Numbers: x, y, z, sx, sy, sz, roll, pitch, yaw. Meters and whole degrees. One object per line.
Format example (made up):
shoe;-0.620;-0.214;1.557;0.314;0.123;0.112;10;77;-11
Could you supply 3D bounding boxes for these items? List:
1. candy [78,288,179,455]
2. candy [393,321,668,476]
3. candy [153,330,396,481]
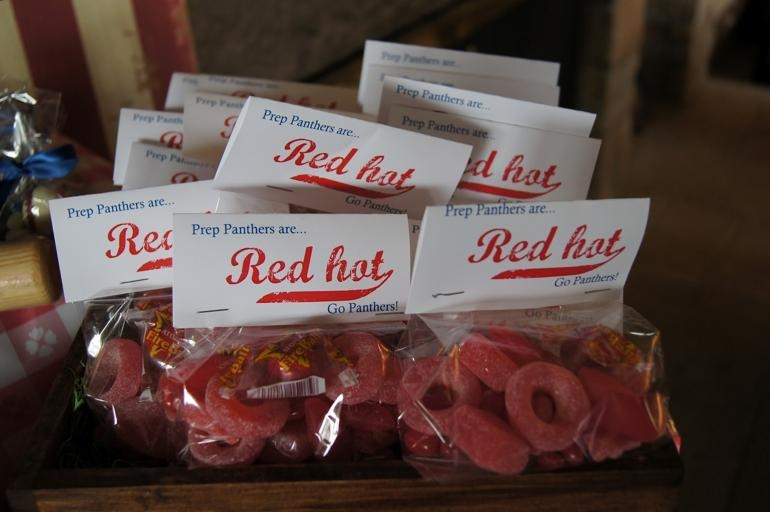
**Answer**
candy;-0.421;0.180;1.055;0.227;0.240;0.077;-7;-5;-5
candy;0.232;0.221;0.974;0.425;0.160;0.172;0;31;-5
candy;-0.157;0.215;0.959;0.279;0.231;0.153;-8;13;-39
